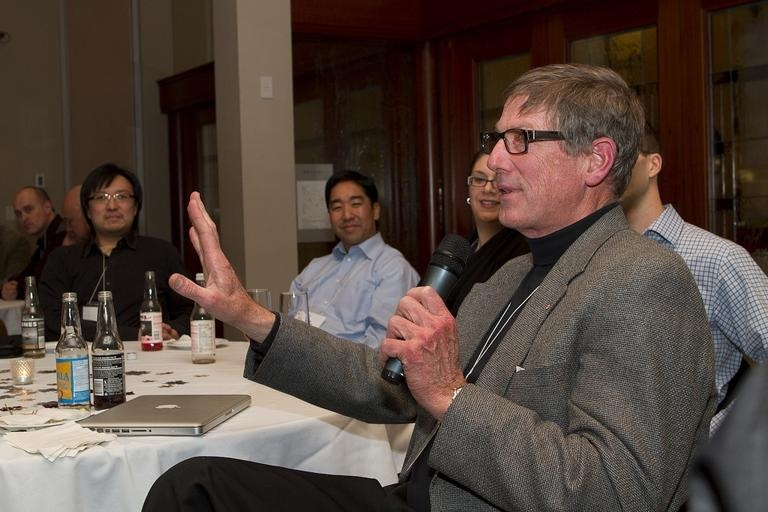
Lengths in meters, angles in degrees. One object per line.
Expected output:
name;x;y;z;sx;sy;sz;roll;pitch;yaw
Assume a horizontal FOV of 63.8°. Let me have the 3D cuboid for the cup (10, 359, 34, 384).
cup;-1.193;0.381;2.039;0.074;0.089;0.076;0;-4;0
